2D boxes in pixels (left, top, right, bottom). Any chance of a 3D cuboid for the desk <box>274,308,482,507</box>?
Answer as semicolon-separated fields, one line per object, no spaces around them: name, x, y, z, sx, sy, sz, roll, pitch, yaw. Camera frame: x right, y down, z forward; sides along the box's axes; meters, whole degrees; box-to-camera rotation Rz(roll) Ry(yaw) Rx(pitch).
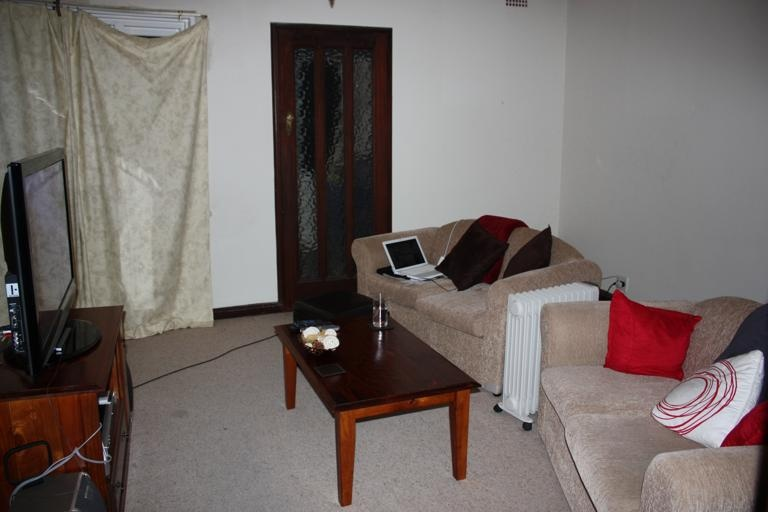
desk;-0.037;0.827;3.451;0.888;0.685;1.120;-8;15;-27

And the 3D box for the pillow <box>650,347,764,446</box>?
pillow;1.479;0.649;2.640;0.130;0.433;0.413;34;59;1

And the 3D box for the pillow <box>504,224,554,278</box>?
pillow;1.018;-0.016;4.025;0.353;0.367;0.347;0;14;6

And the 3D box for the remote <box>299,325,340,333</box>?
remote;-0.373;0.435;3.385;0.152;0.031;0.089;-1;1;-9

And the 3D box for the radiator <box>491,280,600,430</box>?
radiator;0.935;0.577;3.369;0.698;0.844;0.334;-10;28;-27

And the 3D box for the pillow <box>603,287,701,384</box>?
pillow;1.467;0.460;3.194;0.399;0.409;0.155;10;-6;10

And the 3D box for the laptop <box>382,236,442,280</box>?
laptop;0.237;0.038;4.722;0.372;0.242;0.387;-15;26;-29
